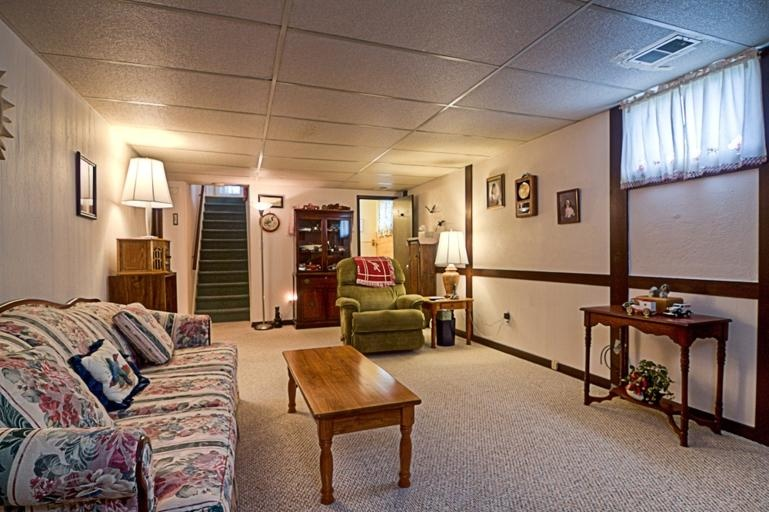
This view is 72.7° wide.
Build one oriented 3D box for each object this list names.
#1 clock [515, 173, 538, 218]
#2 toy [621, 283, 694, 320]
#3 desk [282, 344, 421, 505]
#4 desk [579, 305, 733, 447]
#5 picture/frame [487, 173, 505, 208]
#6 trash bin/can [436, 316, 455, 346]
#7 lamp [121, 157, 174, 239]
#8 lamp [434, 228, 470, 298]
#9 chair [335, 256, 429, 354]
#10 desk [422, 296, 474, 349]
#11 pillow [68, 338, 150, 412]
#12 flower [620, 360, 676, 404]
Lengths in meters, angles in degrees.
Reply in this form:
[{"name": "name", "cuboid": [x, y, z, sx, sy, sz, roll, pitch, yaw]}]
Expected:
[{"name": "clock", "cuboid": [1.586, -0.681, 5.847, 0.083, 0.468, 0.317, -2, 2, -24]}, {"name": "toy", "cuboid": [2.269, 0.358, 4.284, 0.330, 0.208, 0.335, 0, 1, 35]}, {"name": "desk", "cuboid": [-0.224, 0.864, 3.799, 0.731, 0.563, 1.563, 2, 3, -19]}, {"name": "desk", "cuboid": [2.233, 0.912, 4.400, 0.643, 0.891, 0.980, -1, 3, -31]}, {"name": "picture/frame", "cuboid": [1.360, -0.802, 6.319, 0.051, 0.467, 0.448, 0, 2, -20]}, {"name": "trash bin/can", "cuboid": [0.772, 0.947, 6.553, 0.316, 0.366, 0.303, 2, -5, -18]}, {"name": "lamp", "cuboid": [-2.532, -0.692, 5.551, 0.441, 0.911, 1.144, -2, 2, -26]}, {"name": "lamp", "cuboid": [0.913, 0.085, 6.932, 0.434, 0.854, 0.429, -3, 3, -31]}, {"name": "chair", "cuboid": [-0.045, 0.590, 6.495, 1.063, 1.091, 0.948, -2, 2, -12]}, {"name": "desk", "cuboid": [0.843, 0.805, 6.564, 0.639, 0.571, 0.624, 1, -3, -11]}, {"name": "pillow", "cuboid": [-1.825, 0.804, 3.506, 0.125, 0.419, 0.400, -36, 20, 7]}, {"name": "flower", "cuboid": [2.216, 1.017, 4.378, 0.353, 0.256, 0.385, -3, 7, -24]}]
